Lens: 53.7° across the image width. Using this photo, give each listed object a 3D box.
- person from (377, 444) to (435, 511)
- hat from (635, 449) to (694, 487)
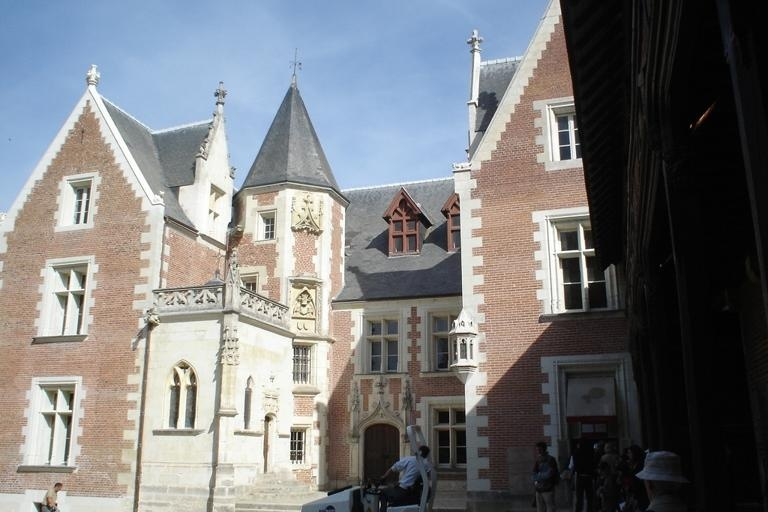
[{"bbox_3d":[0.388,4.143,14.174,0.990,1.136,0.570,-3,-18,1],"label":"person"},{"bbox_3d":[3.382,2.569,9.207,0.642,0.317,0.550,1,-10,21],"label":"hat"}]
